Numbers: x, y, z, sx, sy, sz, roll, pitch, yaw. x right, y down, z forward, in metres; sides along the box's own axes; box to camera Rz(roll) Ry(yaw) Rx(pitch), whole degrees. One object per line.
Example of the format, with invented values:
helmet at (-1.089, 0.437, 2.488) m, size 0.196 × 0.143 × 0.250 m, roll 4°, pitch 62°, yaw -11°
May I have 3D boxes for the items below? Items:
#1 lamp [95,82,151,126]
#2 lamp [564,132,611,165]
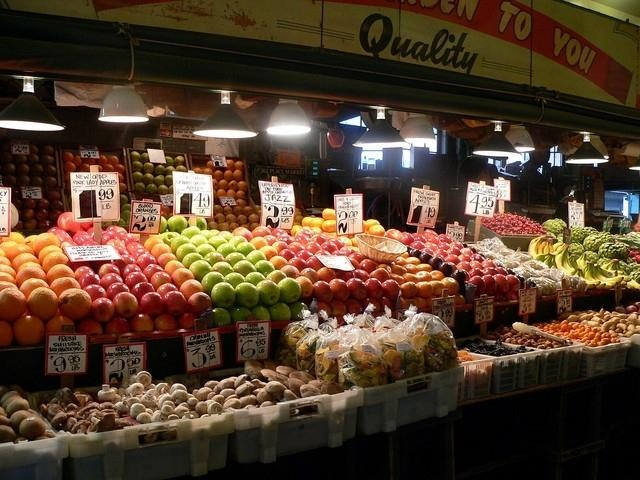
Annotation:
lamp at (-1.687, -1.187, 4.414) m, size 0.403 × 0.308 × 0.424 m, roll 6°, pitch 25°, yaw 3°
lamp at (3.164, -1.102, 6.013) m, size 0.466 × 0.541 × 0.489 m, roll 3°, pitch 4°, yaw 24°
